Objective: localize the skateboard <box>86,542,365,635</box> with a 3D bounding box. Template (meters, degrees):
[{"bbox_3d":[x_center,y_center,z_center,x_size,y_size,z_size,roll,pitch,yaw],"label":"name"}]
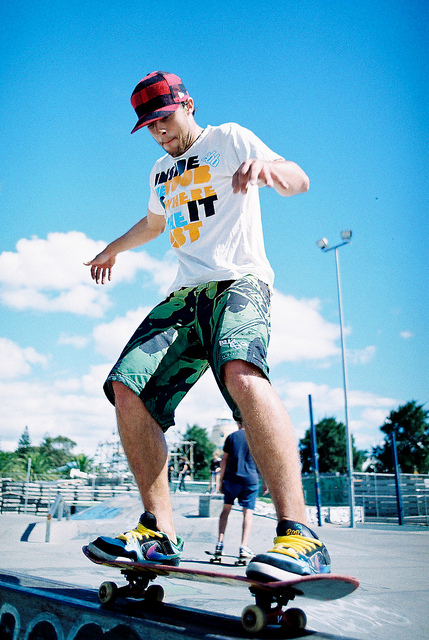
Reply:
[{"bbox_3d":[0.041,0.860,1.828,0.961,0.230,0.404,-11,-16,33],"label":"skateboard"}]

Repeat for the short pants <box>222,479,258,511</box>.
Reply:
[{"bbox_3d":[0.283,1.895,6.152,0.322,0.311,0.537,6,-15,-30],"label":"short pants"}]

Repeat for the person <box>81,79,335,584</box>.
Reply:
[{"bbox_3d":[-0.101,-0.077,2.253,0.653,2.010,1.230,7,-17,-31],"label":"person"}]

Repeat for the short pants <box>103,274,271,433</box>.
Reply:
[{"bbox_3d":[-0.065,0.129,2.108,0.598,0.535,0.236,-21,-62,21],"label":"short pants"}]
